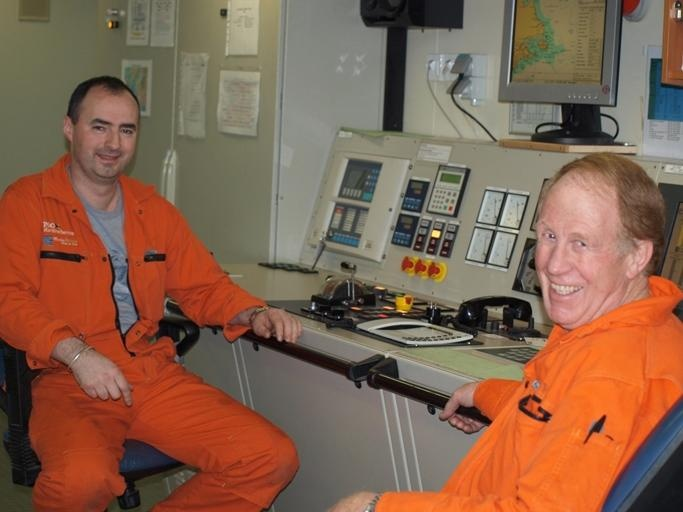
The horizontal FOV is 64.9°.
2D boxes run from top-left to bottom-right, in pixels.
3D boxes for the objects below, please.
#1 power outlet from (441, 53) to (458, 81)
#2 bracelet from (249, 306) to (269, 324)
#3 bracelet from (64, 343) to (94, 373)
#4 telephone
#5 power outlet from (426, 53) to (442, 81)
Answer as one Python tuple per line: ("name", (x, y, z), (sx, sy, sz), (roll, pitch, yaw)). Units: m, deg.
("power outlet", (0.569, -0.994, 2.822), (0.028, 0.134, 0.103), (-3, 13, -41))
("bracelet", (-0.310, 0.211, 2.001), (0.020, 0.063, 0.067), (42, 31, 20))
("bracelet", (-0.838, 0.307, 1.721), (0.080, 0.054, 0.105), (48, -2, -13))
("telephone", (0.553, 0.217, 1.885), (0.206, 0.077, 0.164), (3, 5, -9))
("power outlet", (0.497, -1.009, 2.875), (0.017, 0.130, 0.093), (-3, 13, -41))
